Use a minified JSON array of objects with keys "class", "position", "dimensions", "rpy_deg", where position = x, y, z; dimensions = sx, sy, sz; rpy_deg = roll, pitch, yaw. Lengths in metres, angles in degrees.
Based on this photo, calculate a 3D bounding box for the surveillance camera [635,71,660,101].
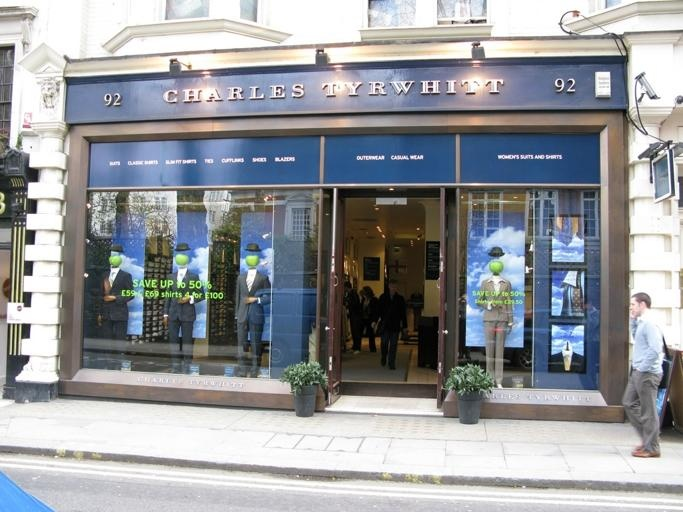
[{"class":"surveillance camera","position":[5.264,-2.914,11.047],"dimensions":[0.376,0.475,0.369],"rpy_deg":[-3,8,-23]}]

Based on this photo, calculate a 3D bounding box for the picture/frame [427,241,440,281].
[{"class":"picture/frame","position":[2.334,0.128,16.695],"dimensions":[0.318,1.014,0.284],"rpy_deg":[0,7,-4]}]

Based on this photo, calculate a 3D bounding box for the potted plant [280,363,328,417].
[{"class":"potted plant","position":[-0.510,2.415,11.724],"dimensions":[1.004,0.996,0.878],"rpy_deg":[-1,-7,5]}]

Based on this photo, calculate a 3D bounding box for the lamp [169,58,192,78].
[{"class":"lamp","position":[-3.060,-3.583,12.306],"dimensions":[0.247,0.306,0.449],"rpy_deg":[4,5,42]}]

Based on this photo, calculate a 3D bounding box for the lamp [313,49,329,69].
[{"class":"lamp","position":[-0.360,-3.602,11.909],"dimensions":[0.354,0.330,0.256],"rpy_deg":[8,14,37]}]

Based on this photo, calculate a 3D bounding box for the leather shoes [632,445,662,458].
[{"class":"leather shoes","position":[4.412,2.885,9.485],"dimensions":[0.435,0.186,0.145],"rpy_deg":[4,-4,13]}]

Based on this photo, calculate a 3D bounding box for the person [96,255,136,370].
[{"class":"person","position":[-4.433,1.069,12.758],"dimensions":[0.559,2.238,0.474],"rpy_deg":[3,8,24]}]

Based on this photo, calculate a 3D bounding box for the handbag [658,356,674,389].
[{"class":"handbag","position":[5.028,1.832,10.059],"dimensions":[0.157,0.414,0.321],"rpy_deg":[7,3,6]}]

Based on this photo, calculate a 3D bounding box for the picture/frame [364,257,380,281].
[{"class":"picture/frame","position":[1.192,0.567,25.719],"dimensions":[0.964,1.208,0.119],"rpy_deg":[0,-3,1]}]

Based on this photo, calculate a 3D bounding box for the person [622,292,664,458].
[{"class":"person","position":[4.476,1.749,9.594],"dimensions":[0.489,2.324,0.708],"rpy_deg":[1,7,10]}]

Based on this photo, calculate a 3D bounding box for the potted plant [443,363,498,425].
[{"class":"potted plant","position":[2.084,2.404,11.347],"dimensions":[0.999,1.024,0.951],"rpy_deg":[0,-7,1]}]

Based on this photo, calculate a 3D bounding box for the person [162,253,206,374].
[{"class":"person","position":[-3.066,1.015,12.531],"dimensions":[0.647,2.382,0.582],"rpy_deg":[6,9,39]}]
